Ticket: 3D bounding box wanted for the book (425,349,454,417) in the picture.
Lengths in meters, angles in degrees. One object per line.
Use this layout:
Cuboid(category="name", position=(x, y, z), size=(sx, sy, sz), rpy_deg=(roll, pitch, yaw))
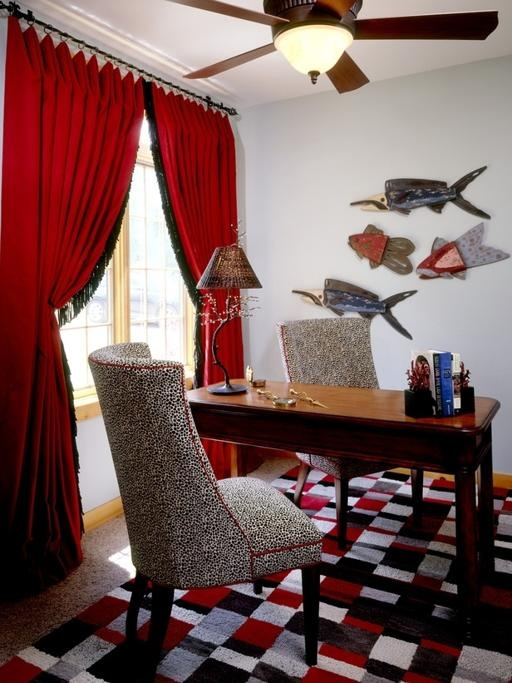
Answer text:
Cuboid(category="book", position=(0.608, 0.148, 1.722), size=(0.076, 0.204, 0.203), rpy_deg=(-1, -5, 4))
